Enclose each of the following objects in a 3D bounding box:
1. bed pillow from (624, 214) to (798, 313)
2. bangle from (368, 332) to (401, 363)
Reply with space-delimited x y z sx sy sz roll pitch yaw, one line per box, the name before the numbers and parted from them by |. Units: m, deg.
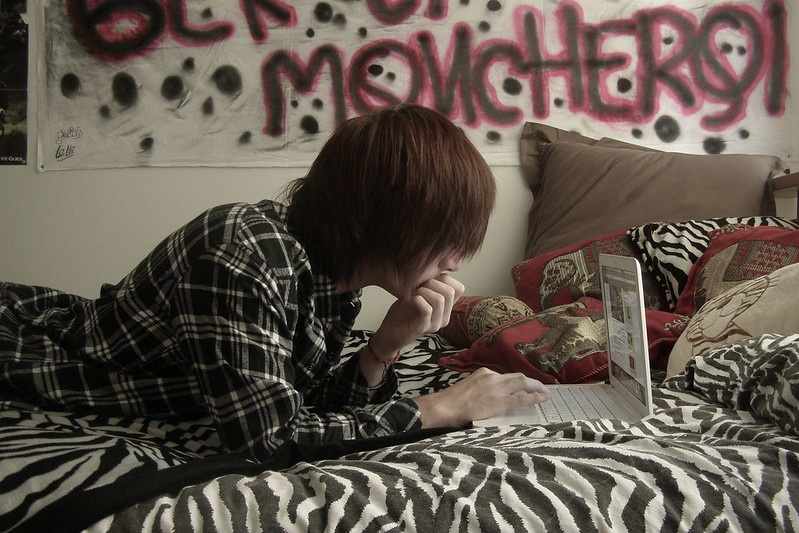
bed pillow | 0.936 -0.062 1.846 0.357 0.400 0.119 -16 -52 18
bangle | -0.035 0.211 1.395 0.082 0.070 0.033 -12 5 2
